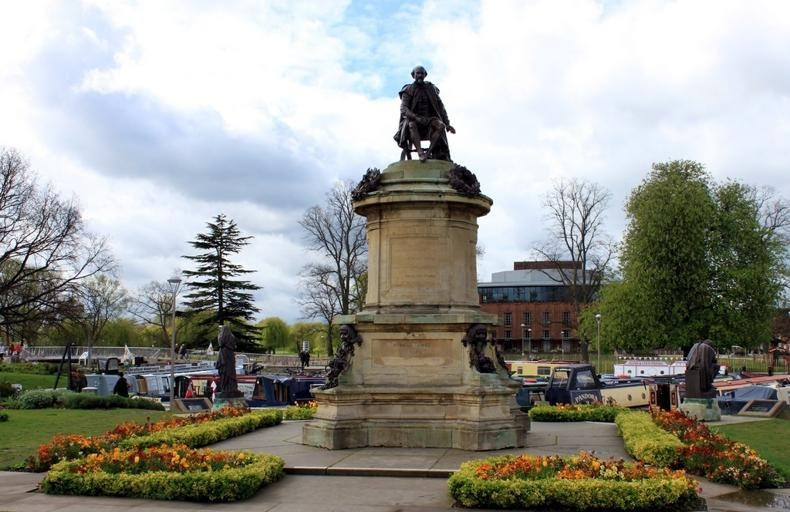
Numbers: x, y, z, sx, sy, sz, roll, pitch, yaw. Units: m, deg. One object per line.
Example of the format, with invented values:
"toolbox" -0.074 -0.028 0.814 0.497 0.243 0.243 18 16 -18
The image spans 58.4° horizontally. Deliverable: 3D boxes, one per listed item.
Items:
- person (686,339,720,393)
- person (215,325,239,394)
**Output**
"person" 12.085 4.423 27.840 1.108 2.277 0.931 -2 1 14
"person" -7.125 4.428 29.996 0.825 2.754 1.431 -2 1 -14
